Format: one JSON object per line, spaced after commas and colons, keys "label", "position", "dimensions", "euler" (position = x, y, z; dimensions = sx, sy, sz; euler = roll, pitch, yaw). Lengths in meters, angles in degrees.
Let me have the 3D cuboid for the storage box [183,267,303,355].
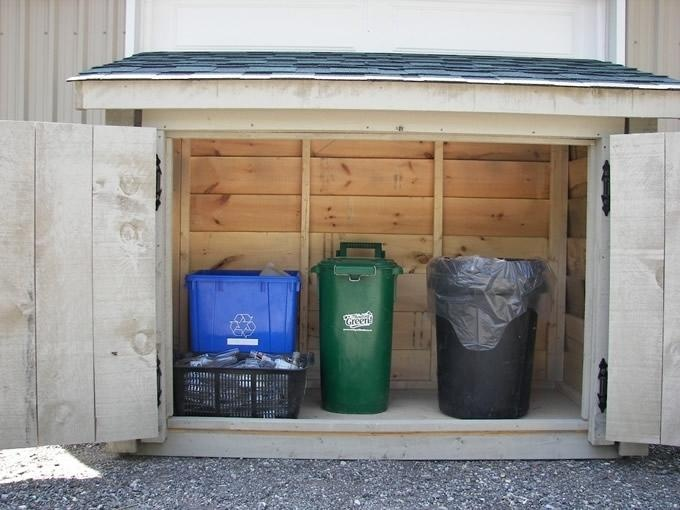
{"label": "storage box", "position": [-0.901, 0.534, 7.969], "dimensions": [1.027, 0.688, 0.590], "euler": [1, -8, -21]}
